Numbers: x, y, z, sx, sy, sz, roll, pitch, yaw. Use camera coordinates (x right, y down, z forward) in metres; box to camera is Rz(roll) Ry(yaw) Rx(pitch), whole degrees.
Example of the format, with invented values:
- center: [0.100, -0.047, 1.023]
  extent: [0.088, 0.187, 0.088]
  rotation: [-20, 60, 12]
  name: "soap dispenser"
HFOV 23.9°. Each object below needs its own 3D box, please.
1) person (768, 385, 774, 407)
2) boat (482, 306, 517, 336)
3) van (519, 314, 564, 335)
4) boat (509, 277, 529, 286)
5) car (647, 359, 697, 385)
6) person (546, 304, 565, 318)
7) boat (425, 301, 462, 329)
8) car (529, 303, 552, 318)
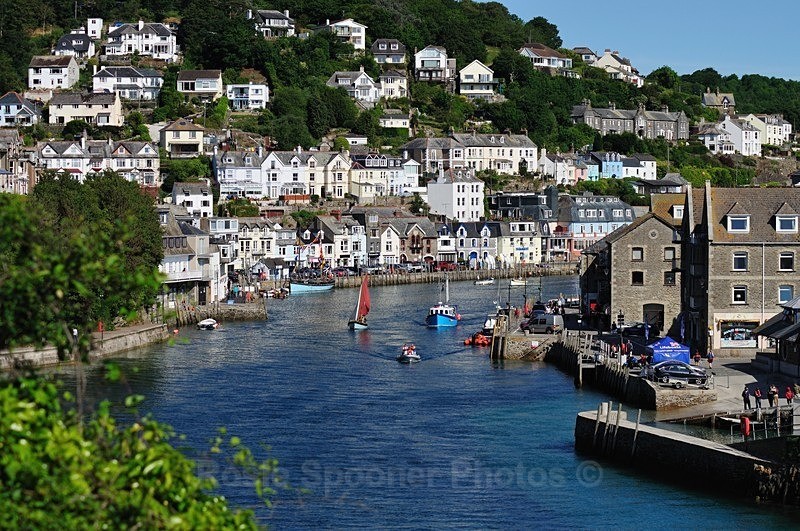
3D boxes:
- center: [28.438, 9.948, 144.072]
  extent: [0.370, 1.345, 0.682]
  rotation: [-1, 7, -26]
  name: "person"
- center: [9.399, 5.092, 177.035]
  extent: [1.570, 2.137, 5.572]
  rotation: [-1, 0, 16]
  name: "boat"
- center: [12.732, 5.251, 168.418]
  extent: [2.895, 1.628, 1.766]
  rotation: [5, 3, 19]
  name: "van"
- center: [13.381, 1.929, 212.413]
  extent: [1.017, 0.895, 2.033]
  rotation: [12, 13, 40]
  name: "boat"
- center: [21.556, 8.434, 149.162]
  extent: [2.866, 0.916, 1.720]
  rotation: [-2, 25, 1]
  name: "car"
- center: [14.784, 4.354, 179.612]
  extent: [0.935, 1.115, 1.855]
  rotation: [2, 3, 11]
  name: "person"
- center: [4.200, 4.866, 183.238]
  extent: [2.068, 1.834, 4.221]
  rotation: [0, -3, 7]
  name: "boat"
- center: [13.076, 4.240, 177.369]
  extent: [0.979, 0.980, 1.841]
  rotation: [3, 9, 19]
  name: "car"
